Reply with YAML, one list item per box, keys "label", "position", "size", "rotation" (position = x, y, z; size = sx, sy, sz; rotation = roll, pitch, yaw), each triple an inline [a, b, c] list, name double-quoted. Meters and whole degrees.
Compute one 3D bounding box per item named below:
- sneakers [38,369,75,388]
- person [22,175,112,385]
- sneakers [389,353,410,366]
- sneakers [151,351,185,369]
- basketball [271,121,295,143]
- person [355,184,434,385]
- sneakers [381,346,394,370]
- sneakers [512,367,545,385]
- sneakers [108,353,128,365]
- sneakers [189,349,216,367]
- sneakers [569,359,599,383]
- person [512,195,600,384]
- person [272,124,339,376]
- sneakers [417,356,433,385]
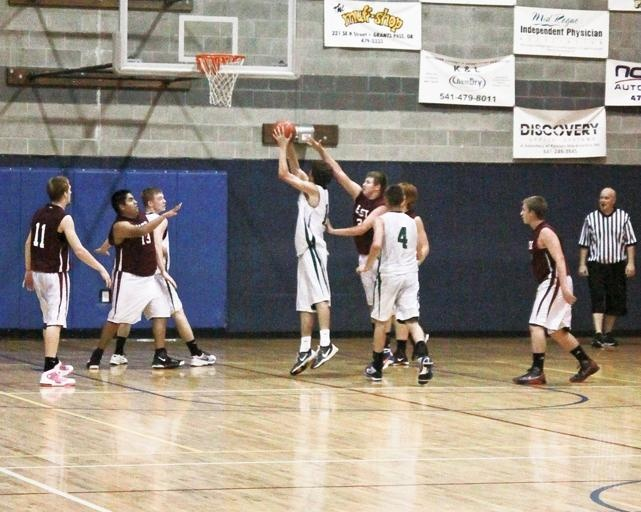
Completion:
- label: "sneakers"
  position: [-2.417, 1.110, 7.715]
  size: [0.386, 0.203, 0.156]
  rotation: [2, 0, -8]
- label: "person"
  position: [-2.528, 0.227, 8.161]
  size: [0.705, 1.982, 1.309]
  rotation: [-3, 6, -18]
- label: "sneakers"
  position: [0.892, 1.182, 9.514]
  size: [0.238, 0.110, 0.090]
  rotation: [6, 2, 21]
- label: "sneakers"
  position: [-1.660, 1.112, 9.022]
  size: [0.393, 0.196, 0.138]
  rotation: [0, 1, -32]
- label: "basketball"
  position: [-0.386, -1.273, 8.651]
  size: [0.225, 0.216, 0.177]
  rotation: [-11, 16, -34]
- label: "person"
  position: [0.713, 0.294, 8.243]
  size: [0.662, 1.971, 1.086]
  rotation: [-1, 5, 3]
- label: "sneakers"
  position: [0.740, 1.111, 9.370]
  size: [0.094, 0.220, 0.301]
  rotation: [2, 9, 6]
- label: "sneakers"
  position: [2.036, 1.190, 8.248]
  size: [0.362, 0.217, 0.136]
  rotation: [0, -4, 3]
- label: "sneakers"
  position: [-2.223, 1.121, 9.151]
  size: [0.087, 0.101, 0.210]
  rotation: [3, 4, 36]
- label: "sneakers"
  position: [-1.288, 1.120, 9.189]
  size: [0.311, 0.151, 0.118]
  rotation: [-5, 7, -42]
- label: "sneakers"
  position: [2.640, 1.159, 8.401]
  size: [0.118, 0.248, 0.086]
  rotation: [33, 35, -21]
- label: "person"
  position: [2.246, 0.347, 8.124]
  size: [0.692, 1.822, 0.602]
  rotation: [2, 6, 31]
- label: "person"
  position: [-0.163, -0.026, 8.502]
  size: [0.585, 2.592, 0.854]
  rotation: [-1, 5, -3]
- label: "sneakers"
  position: [0.972, 1.087, 7.837]
  size: [0.128, 0.293, 0.125]
  rotation: [-3, 41, -2]
